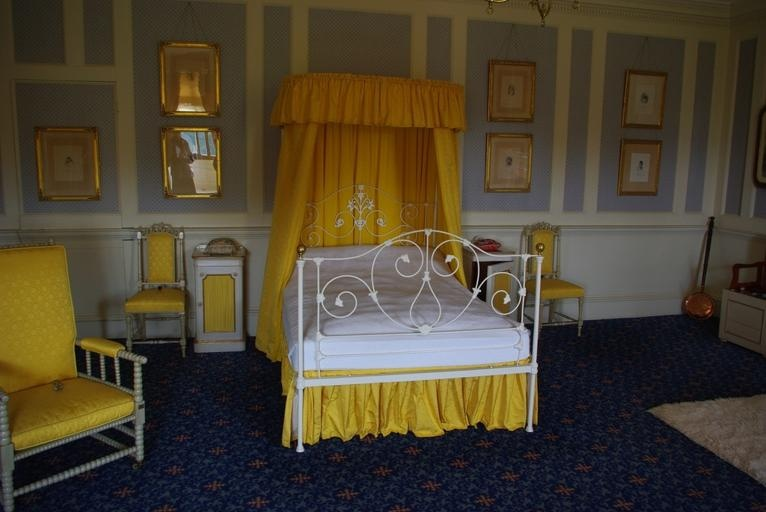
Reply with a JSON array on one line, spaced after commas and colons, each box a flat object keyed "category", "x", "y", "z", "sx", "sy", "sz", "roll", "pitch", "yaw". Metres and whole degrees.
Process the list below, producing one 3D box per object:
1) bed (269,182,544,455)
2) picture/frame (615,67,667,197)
[{"category": "bed", "x": 0.152, "y": 0.626, "z": 6.030, "sx": 2.385, "sy": 1.779, "sz": 2.394, "roll": -4, "pitch": 10, "yaw": -10}, {"category": "picture/frame", "x": 3.547, "y": -1.682, "z": 7.756, "sx": 0.728, "sy": 1.674, "sz": 0.183, "roll": -5, "pitch": 11, "yaw": -17}]
